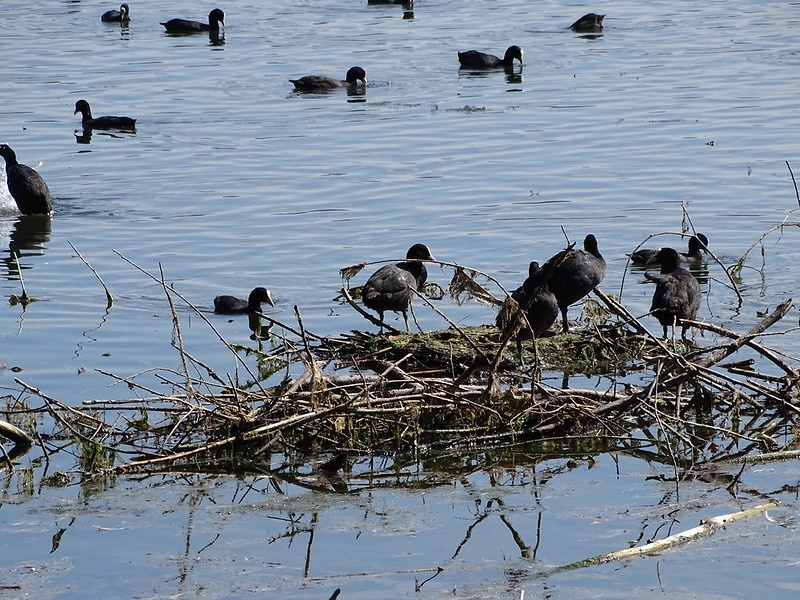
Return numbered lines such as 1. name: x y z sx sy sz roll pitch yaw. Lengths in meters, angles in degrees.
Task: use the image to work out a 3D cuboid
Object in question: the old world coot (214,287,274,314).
1. old world coot: -2.368 0.013 17.743 0.919 0.457 0.475 -1 16 -3
